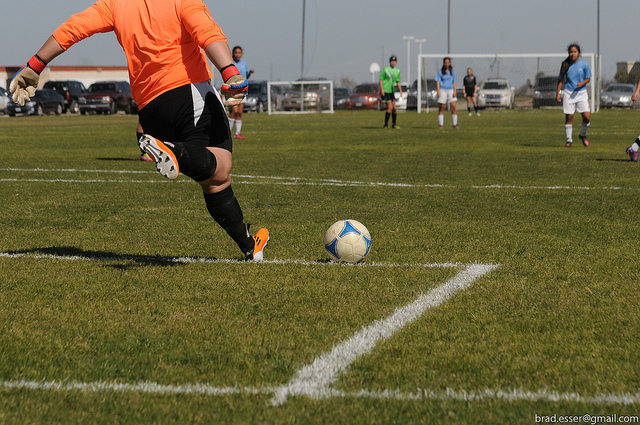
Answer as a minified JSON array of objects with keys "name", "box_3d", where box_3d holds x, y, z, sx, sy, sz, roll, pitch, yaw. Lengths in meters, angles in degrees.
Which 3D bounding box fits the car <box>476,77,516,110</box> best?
[{"name":"car","box_3d":[8.427,-5.752,39.064,1.994,1.708,3.643,1,7,13]}]

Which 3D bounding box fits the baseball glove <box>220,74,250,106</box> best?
[{"name":"baseball glove","box_3d":[-0.600,-0.853,5.627,0.196,0.225,0.224,-4,14,-8]}]

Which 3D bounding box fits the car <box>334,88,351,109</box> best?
[{"name":"car","box_3d":[1.256,-7.134,49.981,0.886,0.840,1.653,0,8,9]}]

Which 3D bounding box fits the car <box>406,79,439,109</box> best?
[{"name":"car","box_3d":[5.506,-6.616,42.290,2.015,2.142,3.712,0,6,5]}]

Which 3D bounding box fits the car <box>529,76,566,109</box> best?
[{"name":"car","box_3d":[12.168,-6.352,42.597,1.677,2.062,3.356,-1,5,19]}]

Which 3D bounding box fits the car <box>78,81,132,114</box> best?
[{"name":"car","box_3d":[-10.260,-5.497,38.745,1.625,1.647,3.558,0,8,5]}]

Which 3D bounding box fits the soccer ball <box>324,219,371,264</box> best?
[{"name":"soccer ball","box_3d":[0.218,0.249,6.462,0.358,0.269,0.198,-2,13,0]}]

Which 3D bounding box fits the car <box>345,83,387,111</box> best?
[{"name":"car","box_3d":[2.466,-6.275,43.804,1.644,1.510,3.202,2,7,18]}]
